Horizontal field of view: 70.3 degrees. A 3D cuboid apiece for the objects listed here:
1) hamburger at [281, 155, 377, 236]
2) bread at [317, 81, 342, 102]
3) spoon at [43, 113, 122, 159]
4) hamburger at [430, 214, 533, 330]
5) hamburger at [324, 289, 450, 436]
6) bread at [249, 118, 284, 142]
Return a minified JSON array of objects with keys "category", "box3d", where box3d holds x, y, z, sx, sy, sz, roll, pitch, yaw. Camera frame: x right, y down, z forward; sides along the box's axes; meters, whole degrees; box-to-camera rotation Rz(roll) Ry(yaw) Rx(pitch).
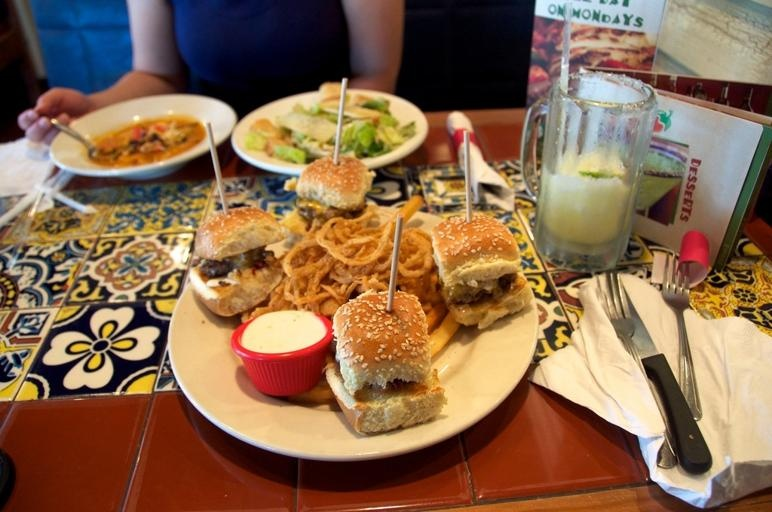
[{"category":"hamburger","box3d":[-0.290,-0.334,2.821,0.408,0.297,0.412,22,44,33]},{"category":"bread","box3d":[-0.396,-1.133,3.774,0.185,0.050,0.178,-2,48,0]},{"category":"spoon","box3d":[-1.831,-0.709,3.333,0.439,0.074,0.224,38,43,7]},{"category":"hamburger","box3d":[0.388,0.054,2.399,0.448,0.360,0.569,-7,41,-7]},{"category":"hamburger","box3d":[0.000,0.417,2.069,0.368,0.204,0.550,-2,44,-8]},{"category":"bread","box3d":[-0.729,-0.775,3.384,0.192,0.069,0.146,-12,39,-43]}]
